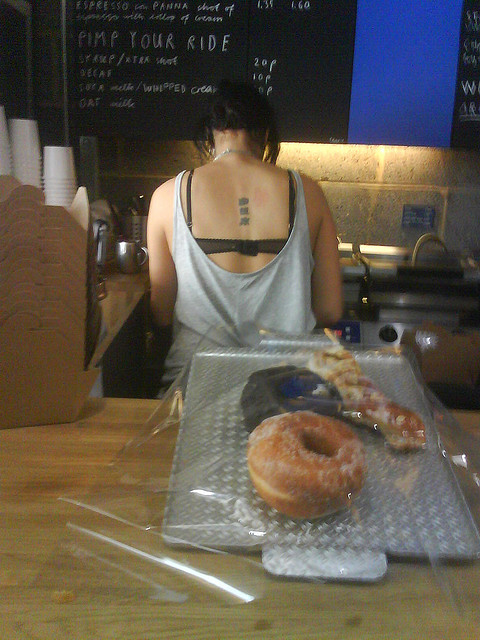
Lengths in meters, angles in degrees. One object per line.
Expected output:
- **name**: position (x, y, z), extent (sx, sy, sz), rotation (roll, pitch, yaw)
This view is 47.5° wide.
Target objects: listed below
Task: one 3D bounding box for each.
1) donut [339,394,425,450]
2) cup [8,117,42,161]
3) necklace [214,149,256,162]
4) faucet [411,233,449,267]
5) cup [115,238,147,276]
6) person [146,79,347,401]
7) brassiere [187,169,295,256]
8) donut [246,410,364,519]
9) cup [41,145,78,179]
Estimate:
- **donut**: position (0.089, 0.057, 0.340), extent (0.045, 0.016, 0.028), rotation (26, 45, 33)
- **cup**: position (-0.589, -0.505, 1.517), extent (0.068, 0.130, 0.121), rotation (0, 7, 9)
- **necklace**: position (-0.010, -0.386, 1.269), extent (0.089, 0.023, 0.041), rotation (-1, 7, 1)
- **faucet**: position (0.826, -0.312, 2.358), extent (0.142, 0.142, 0.774), rotation (2, 7, 20)
- **cup**: position (-0.400, -0.238, 2.069), extent (0.107, 0.132, 0.151), rotation (1, 7, 12)
- **person**: position (0.043, -0.215, 1.343), extent (0.518, 0.702, 0.334), rotation (-3, 8, -16)
- **brassiere**: position (0.009, -0.198, 1.164), extent (0.222, 0.204, 0.058), rotation (-2, 5, -3)
- **donut**: position (0.046, 0.086, 0.326), extent (0.073, 0.027, 0.071), rotation (19, 25, 3)
- **cup**: position (-0.480, -0.411, 1.432), extent (0.088, 0.088, 0.086), rotation (-1, 7, 0)
